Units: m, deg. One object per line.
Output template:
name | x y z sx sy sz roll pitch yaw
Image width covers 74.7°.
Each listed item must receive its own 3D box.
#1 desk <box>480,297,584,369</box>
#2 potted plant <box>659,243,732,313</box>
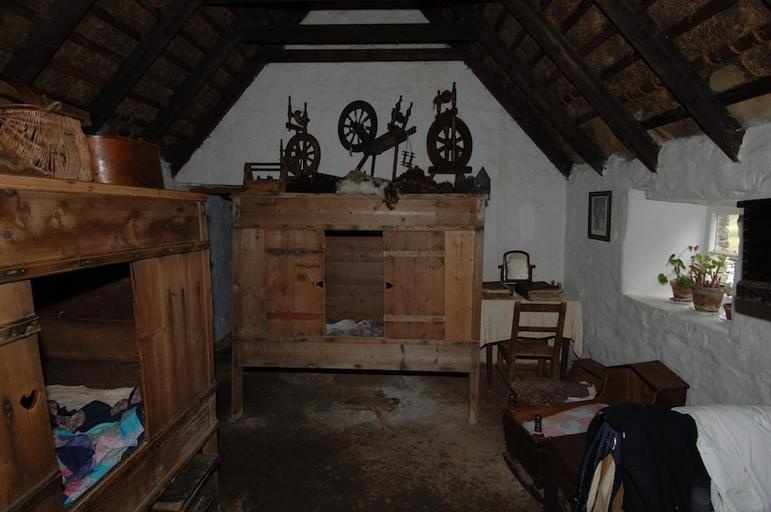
desk | 2.108 1.061 7.376 1.023 0.524 1.044 -1 3 5
potted plant | 3.880 0.274 6.338 0.546 0.607 0.904 -1 -1 -11
